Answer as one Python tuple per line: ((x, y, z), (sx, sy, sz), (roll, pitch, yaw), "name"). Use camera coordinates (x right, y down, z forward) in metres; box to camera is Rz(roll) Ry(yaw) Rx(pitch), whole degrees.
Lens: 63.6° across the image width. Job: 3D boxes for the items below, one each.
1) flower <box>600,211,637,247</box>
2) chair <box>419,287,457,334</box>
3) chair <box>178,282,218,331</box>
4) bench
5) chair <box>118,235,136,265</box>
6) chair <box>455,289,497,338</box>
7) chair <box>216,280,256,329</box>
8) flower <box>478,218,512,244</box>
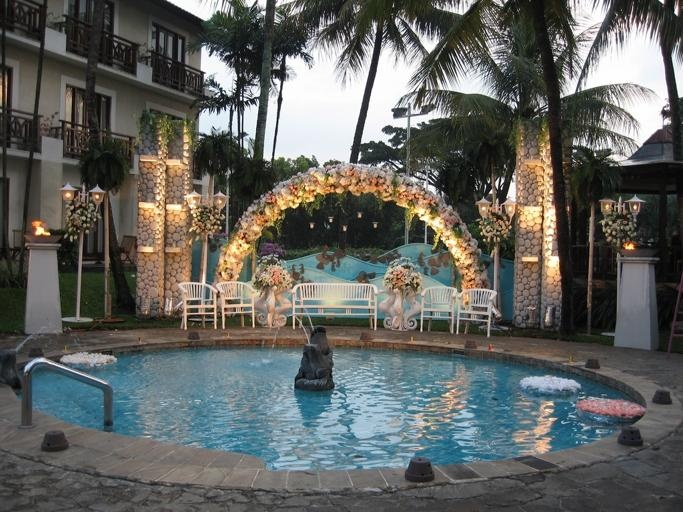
((6.588, -0.619, 13.149), (0.729, 0.973, 0.798), (-1, -2, -4), "flower")
((2.460, 1.345, 13.927), (0.841, 1.385, 0.916), (0, -12, 19), "chair")
((-3.695, 1.257, 14.060), (0.889, 1.389, 0.860), (4, -13, -40), "chair")
((-0.177, 1.278, 14.627), (2.125, 1.366, 0.941), (1, -8, 1), "bench")
((-9.174, -0.253, 23.714), (0.626, 1.220, 2.503), (-3, 7, -22), "chair")
((3.282, 1.350, 13.567), (1.008, 1.662, 1.098), (-1, -11, 17), "chair")
((-2.784, 1.278, 14.332), (0.902, 1.318, 0.812), (1, -6, -35), "chair")
((3.955, -0.681, 14.493), (0.655, 0.610, 0.688), (2, 2, -13), "flower")
